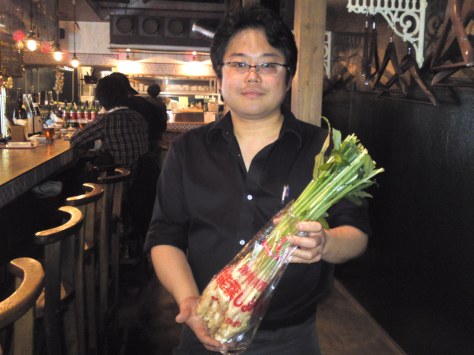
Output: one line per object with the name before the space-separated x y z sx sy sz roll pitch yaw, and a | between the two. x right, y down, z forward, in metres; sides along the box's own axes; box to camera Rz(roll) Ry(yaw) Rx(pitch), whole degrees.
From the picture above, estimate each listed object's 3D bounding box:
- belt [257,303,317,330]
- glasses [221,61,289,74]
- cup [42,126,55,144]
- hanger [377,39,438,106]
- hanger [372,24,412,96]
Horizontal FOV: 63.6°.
belt | 0.218 0.580 1.561 0.151 0.058 0.121 -7 -1 -14
glasses | 0.078 -0.451 1.584 0.268 0.060 0.105 -1 14 7
cup | -1.847 -0.421 3.761 0.087 0.160 0.279 -9 15 -27
hanger | 1.104 -0.667 2.430 0.022 0.327 0.453 -15 27 -12
hanger | 1.054 -0.736 2.598 0.298 0.470 0.283 0 8 -2
